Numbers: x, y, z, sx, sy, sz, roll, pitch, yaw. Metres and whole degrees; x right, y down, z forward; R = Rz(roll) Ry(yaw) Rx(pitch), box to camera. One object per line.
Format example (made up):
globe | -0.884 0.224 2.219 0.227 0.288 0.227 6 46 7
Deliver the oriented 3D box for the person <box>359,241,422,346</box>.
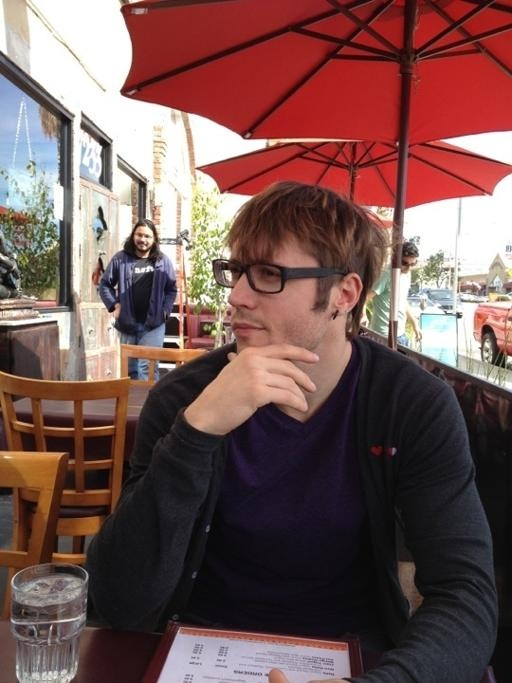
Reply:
person | 1.380 -0.588 5.484 0.323 0.282 0.942 4 -26 -20

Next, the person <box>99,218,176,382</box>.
person | -1.376 -0.318 5.766 0.800 2.103 0.738 3 22 -8
